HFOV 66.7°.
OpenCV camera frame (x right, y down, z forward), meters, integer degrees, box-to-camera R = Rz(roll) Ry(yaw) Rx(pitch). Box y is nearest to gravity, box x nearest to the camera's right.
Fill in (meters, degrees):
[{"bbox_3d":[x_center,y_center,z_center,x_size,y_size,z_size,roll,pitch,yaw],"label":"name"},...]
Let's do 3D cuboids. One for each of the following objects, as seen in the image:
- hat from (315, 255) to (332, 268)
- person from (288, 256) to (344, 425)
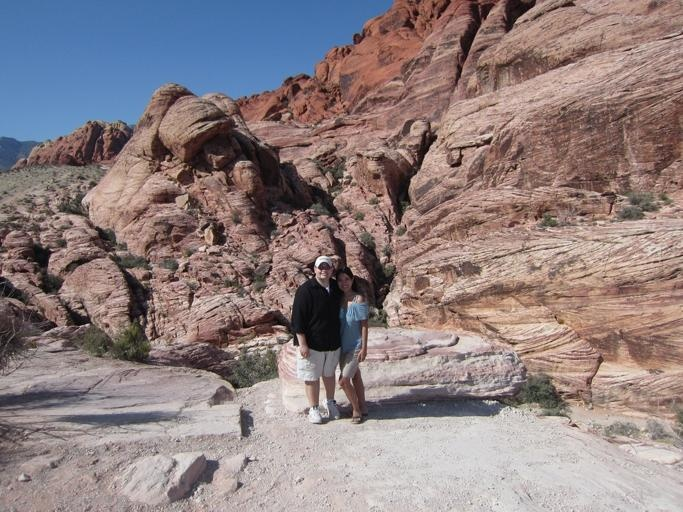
[{"bbox_3d":[-0.357,0.119,10.156,0.427,0.204,0.632,2,-6,-2],"label":"hat"},{"bbox_3d":[-0.386,1.544,9.470,0.993,3.019,0.550,-9,0,-7],"label":"person"}]
